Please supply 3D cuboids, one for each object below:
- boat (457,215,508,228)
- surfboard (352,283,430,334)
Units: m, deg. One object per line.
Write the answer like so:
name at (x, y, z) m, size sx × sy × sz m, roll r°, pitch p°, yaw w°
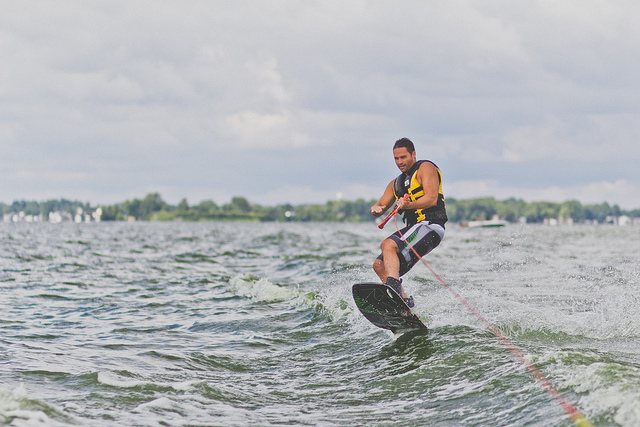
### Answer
boat at (15.588, 0.677, 96.750) m, size 1.206 × 1.319 × 6.636 m, roll -2°, pitch -1°, yaw -29°
surfboard at (1.684, 2.167, 23.688) m, size 1.818 × 0.482 × 3.387 m, roll 9°, pitch -22°, yaw 10°
